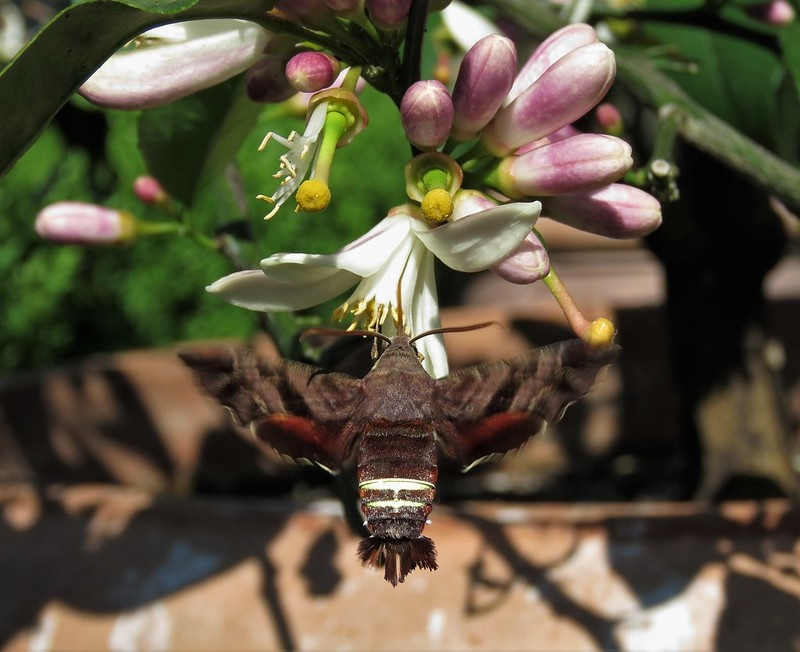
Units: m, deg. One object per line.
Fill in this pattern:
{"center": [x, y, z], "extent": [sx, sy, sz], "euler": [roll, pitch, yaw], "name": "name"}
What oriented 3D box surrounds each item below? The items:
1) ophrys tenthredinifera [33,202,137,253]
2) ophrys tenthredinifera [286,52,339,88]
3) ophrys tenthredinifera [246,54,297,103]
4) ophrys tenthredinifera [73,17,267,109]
{"center": [-0.508, -0.166, 1.497], "extent": [0.150, 0.070, 0.065], "euler": [-1, 63, -3], "name": "ophrys tenthredinifera"}
{"center": [-0.131, -0.382, 1.373], "extent": [0.065, 0.045, 0.065], "euler": [18, 62, 7], "name": "ophrys tenthredinifera"}
{"center": [-0.208, -0.405, 1.505], "extent": [0.066, 0.085, 0.024], "euler": [9, 78, -39], "name": "ophrys tenthredinifera"}
{"center": [-0.367, -0.431, 1.475], "extent": [0.299, 0.084, 0.108], "euler": [-24, 65, -16], "name": "ophrys tenthredinifera"}
